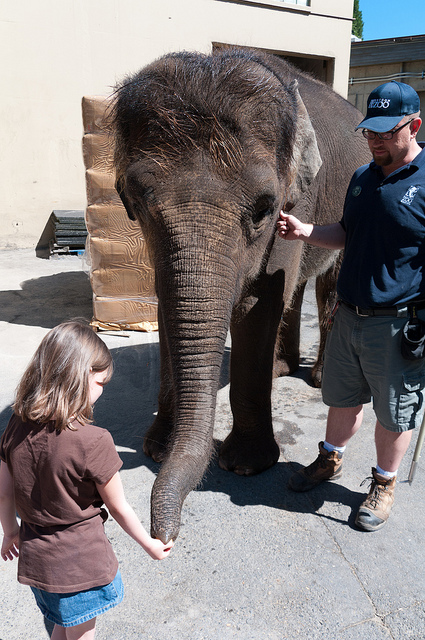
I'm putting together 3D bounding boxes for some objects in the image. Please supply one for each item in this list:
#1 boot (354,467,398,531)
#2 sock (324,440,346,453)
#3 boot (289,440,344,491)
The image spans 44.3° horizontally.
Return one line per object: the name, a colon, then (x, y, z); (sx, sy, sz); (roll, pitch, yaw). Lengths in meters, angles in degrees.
boot: (0.748, 0.811, 2.416); (0.135, 0.169, 0.302); (10, 13, 29)
sock: (0.610, 0.639, 2.634); (0.073, 0.057, 0.056); (-6, 9, -21)
boot: (0.524, 0.735, 2.653); (0.315, 0.194, 0.114); (-8, 21, -24)
